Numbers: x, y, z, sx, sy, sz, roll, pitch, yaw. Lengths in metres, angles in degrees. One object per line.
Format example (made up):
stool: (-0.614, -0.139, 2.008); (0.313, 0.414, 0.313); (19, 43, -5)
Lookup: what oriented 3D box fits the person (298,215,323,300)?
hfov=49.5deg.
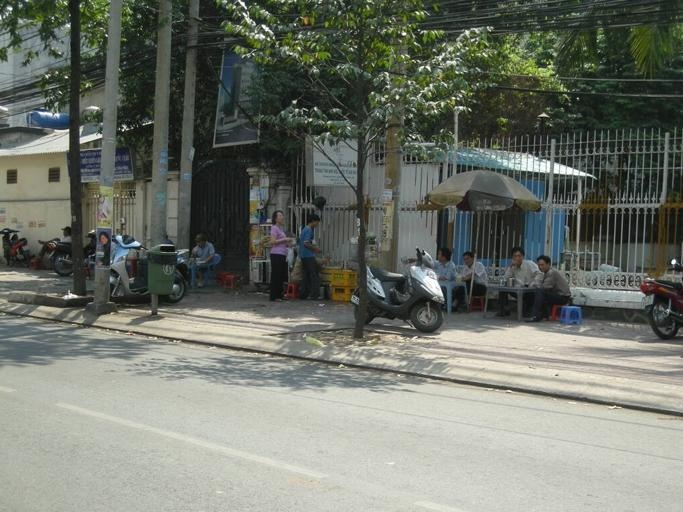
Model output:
person: (-0.794, 0.022, 18.386); (0.540, 2.038, 0.900); (2, 0, -4)

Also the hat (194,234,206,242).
hat: (-3.918, -0.500, 20.579); (0.258, 0.204, 0.568); (2, -1, -11)

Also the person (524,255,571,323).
person: (4.331, 0.689, 15.514); (0.889, 1.419, 0.538); (2, 0, -44)
